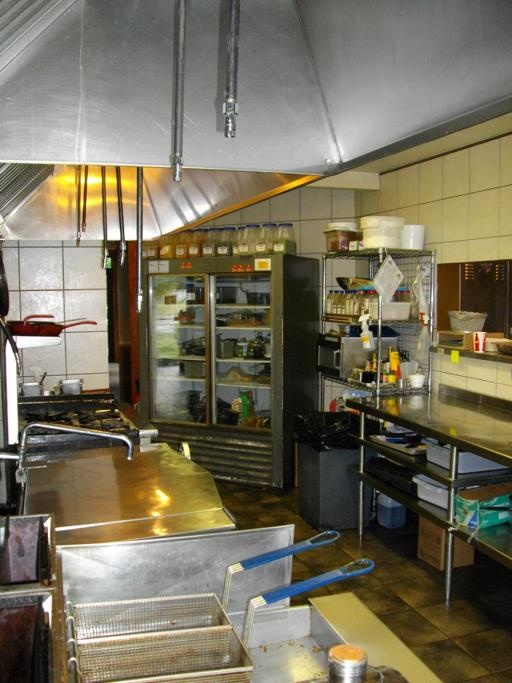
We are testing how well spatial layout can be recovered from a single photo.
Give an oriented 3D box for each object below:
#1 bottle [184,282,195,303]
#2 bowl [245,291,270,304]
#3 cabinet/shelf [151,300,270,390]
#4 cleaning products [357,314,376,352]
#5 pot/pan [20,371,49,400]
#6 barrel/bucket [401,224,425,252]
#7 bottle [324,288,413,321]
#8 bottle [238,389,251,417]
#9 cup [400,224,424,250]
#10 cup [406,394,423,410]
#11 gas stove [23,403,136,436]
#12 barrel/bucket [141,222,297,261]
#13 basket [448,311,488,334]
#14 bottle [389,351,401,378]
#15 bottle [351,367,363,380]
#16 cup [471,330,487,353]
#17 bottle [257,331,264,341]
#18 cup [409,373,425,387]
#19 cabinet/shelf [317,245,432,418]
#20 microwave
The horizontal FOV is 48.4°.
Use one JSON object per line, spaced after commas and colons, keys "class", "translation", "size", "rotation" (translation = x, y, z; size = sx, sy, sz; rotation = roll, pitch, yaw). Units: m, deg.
{"class": "bottle", "translation": [-0.587, -0.433, 5.082], "size": [0.094, 0.184, 0.013], "rotation": [3, 4, 31]}
{"class": "bowl", "translation": [0.008, -0.367, 4.910], "size": [0.231, 0.110, 0.033], "rotation": [3, 4, 37]}
{"class": "cabinet/shelf", "translation": [-0.271, -0.004, 5.227], "size": [1.422, 0.786, 0.433], "rotation": [3, 4, 25]}
{"class": "cleaning products", "translation": [0.786, -0.066, 4.052], "size": [0.120, 0.260, 0.189], "rotation": [1, 4, 13]}
{"class": "pot/pan", "translation": [-1.527, 0.290, 3.949], "size": [0.185, 0.194, 0.240], "rotation": [-3, 7, -32]}
{"class": "barrel/bucket", "translation": [1.124, -0.723, 4.039], "size": [0.210, 0.190, 0.132], "rotation": [-3, 5, -43]}
{"class": "bottle", "translation": [0.812, -0.264, 4.202], "size": [0.325, 0.228, 0.790], "rotation": [-1, 3, -21]}
{"class": "bottle", "translation": [-0.095, 0.554, 4.999], "size": [0.106, 0.228, 0.039], "rotation": [0, 4, -6]}
{"class": "cup", "translation": [1.105, -0.720, 4.040], "size": [0.194, 0.198, 0.196], "rotation": [1, 7, 0]}
{"class": "cup", "translation": [1.022, 0.392, 3.660], "size": [0.077, 0.078, 0.077], "rotation": [1, 0, 0]}
{"class": "gas stove", "translation": [-1.058, 0.464, 3.341], "size": [0.600, 0.056, 0.771], "rotation": [-1, 3, -22]}
{"class": "barrel/bucket", "translation": [-0.334, -0.849, 4.891], "size": [1.321, 0.302, 0.306], "rotation": [2, 4, 22]}
{"class": "basket", "translation": [1.370, -0.121, 3.658], "size": [0.147, 0.138, 0.269], "rotation": [-1, 4, -22]}
{"class": "bottle", "translation": [0.989, 0.169, 4.073], "size": [0.082, 0.185, 0.150], "rotation": [1, 3, 12]}
{"class": "bottle", "translation": [0.713, 0.241, 4.124], "size": [0.091, 0.085, 0.052], "rotation": [1, 1, -6]}
{"class": "cup", "translation": [1.351, 0.007, 3.451], "size": [0.110, 0.145, 0.121], "rotation": [-1, 0, 0]}
{"class": "bottle", "translation": [0.033, -0.042, 4.980], "size": [0.080, 0.105, 0.158], "rotation": [0, 3, -1]}
{"class": "cup", "translation": [1.134, 0.274, 3.989], "size": [0.092, 0.061, 0.093], "rotation": [-1, -2, 0]}
{"class": "cabinet/shelf", "translation": [0.830, 0.032, 4.337], "size": [0.529, 1.511, 0.884], "rotation": [1, 6, -14]}
{"class": "microwave", "translation": [0.712, 0.112, 4.458], "size": [0.399, 0.271, 0.473], "rotation": [-1, 3, -14]}
